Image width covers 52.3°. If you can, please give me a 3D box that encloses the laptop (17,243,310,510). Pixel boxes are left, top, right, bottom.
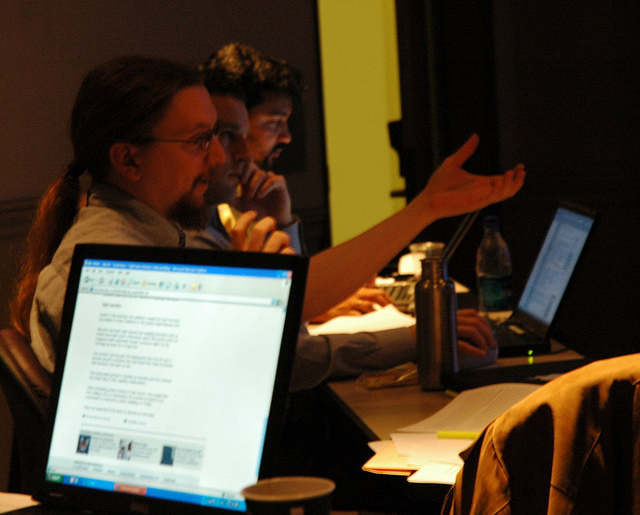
[{"bbox_3d":[-0.188,0.173,0.982,0.469,0.374,0.348,9,1,44],"label":"laptop"}]

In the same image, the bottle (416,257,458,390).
[{"bbox_3d":[0.274,0.152,1.526,0.104,0.305,0.137,4,5,12],"label":"bottle"}]
